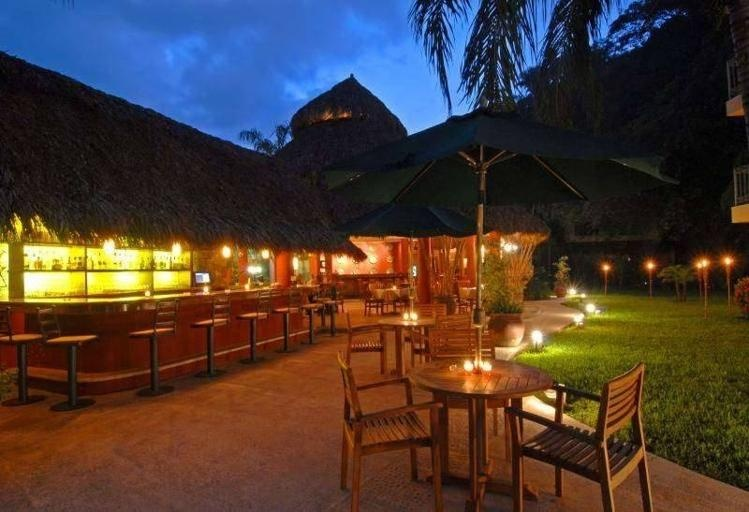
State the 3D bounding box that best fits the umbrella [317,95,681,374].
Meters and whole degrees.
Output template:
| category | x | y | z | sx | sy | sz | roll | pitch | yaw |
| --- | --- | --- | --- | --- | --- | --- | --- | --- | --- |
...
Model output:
| category | x | y | z | sx | sy | sz | roll | pitch | yaw |
| --- | --- | --- | --- | --- | --- | --- | --- | --- | --- |
| umbrella | 1.506 | -0.657 | 9.357 | 4.065 | 3.149 | 4.110 | 0 | -5 | -9 |
